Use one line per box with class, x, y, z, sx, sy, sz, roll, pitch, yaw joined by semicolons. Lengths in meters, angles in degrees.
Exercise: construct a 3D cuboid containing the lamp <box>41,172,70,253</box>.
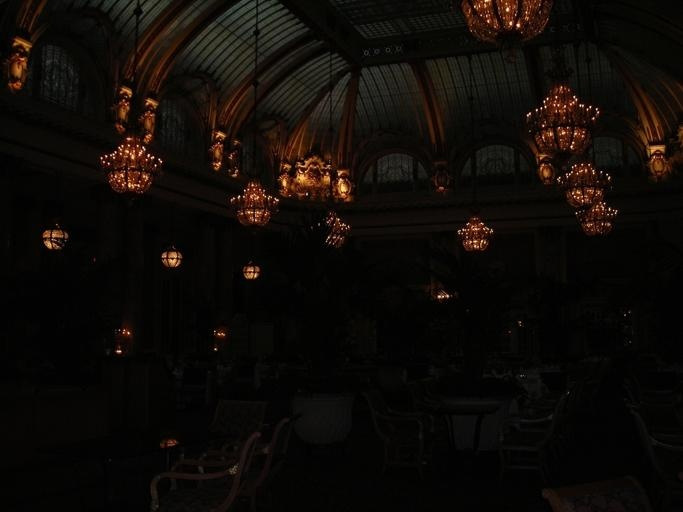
lamp;-6.222;-0.897;15.702;0.567;1.584;1.380;-2;5;-22
